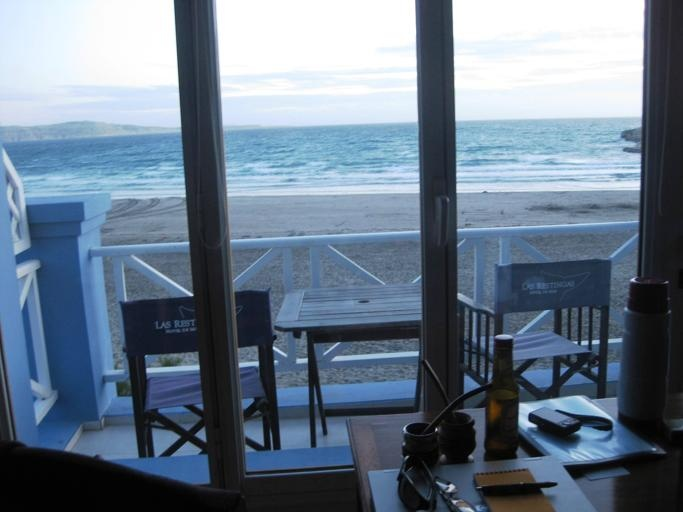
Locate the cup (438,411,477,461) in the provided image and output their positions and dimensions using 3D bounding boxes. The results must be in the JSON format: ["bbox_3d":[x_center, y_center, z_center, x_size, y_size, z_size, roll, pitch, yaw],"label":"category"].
[{"bbox_3d":[0.334,0.534,1.984,0.131,0.140,0.122,1,-1,0],"label":"cup"}]

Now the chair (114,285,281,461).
[{"bbox_3d":[-0.659,0.446,3.109,0.854,1.019,0.701,-1,-2,-6],"label":"chair"}]

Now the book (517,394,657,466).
[{"bbox_3d":[0.733,0.518,1.941,0.199,0.027,0.202,-6,17,-18],"label":"book"}]

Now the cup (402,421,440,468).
[{"bbox_3d":[0.226,0.542,1.888,0.112,0.100,0.108,1,5,0],"label":"cup"}]

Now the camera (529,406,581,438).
[{"bbox_3d":[0.652,0.507,2.015,0.076,0.028,0.098,-7,14,-34],"label":"camera"}]
